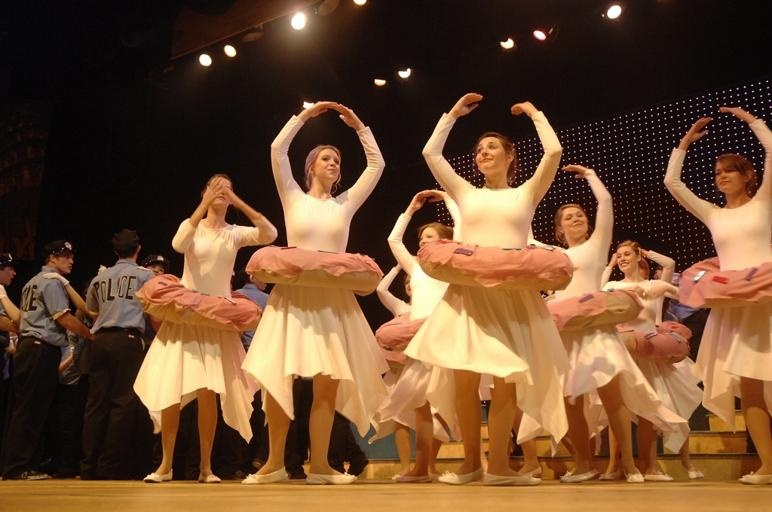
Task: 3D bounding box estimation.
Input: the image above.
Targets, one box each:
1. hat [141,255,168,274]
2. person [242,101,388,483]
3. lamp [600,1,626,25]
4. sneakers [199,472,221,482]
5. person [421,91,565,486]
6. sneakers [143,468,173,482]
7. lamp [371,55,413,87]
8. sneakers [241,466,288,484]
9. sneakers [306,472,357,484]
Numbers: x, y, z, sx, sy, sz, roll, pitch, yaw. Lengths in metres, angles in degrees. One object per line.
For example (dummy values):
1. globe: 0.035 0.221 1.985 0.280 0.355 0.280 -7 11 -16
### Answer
1. hat: -2.445 0.083 7.011 0.167 0.208 0.215 5 -5 -33
2. person: -0.547 0.235 5.169 1.077 2.930 0.760 1 -17 -2
3. lamp: 2.718 -2.903 7.848 0.197 0.118 0.253 17 -24 -42
4. sneakers: -1.470 1.830 5.451 0.205 0.065 0.079 -11 -21 31
5. person: 0.798 0.194 5.023 1.115 2.932 1.017 2 -17 6
6. sneakers: -1.880 1.806 5.397 0.235 0.089 0.205 0 -18 1
7. lamp: 0.097 -2.399 8.729 0.479 0.208 0.184 -17 -29 4
8. sneakers: -0.891 1.640 4.942 0.363 0.141 0.127 6 -16 -12
9. sneakers: -0.414 1.612 4.877 0.337 0.098 0.128 0 -15 -4
